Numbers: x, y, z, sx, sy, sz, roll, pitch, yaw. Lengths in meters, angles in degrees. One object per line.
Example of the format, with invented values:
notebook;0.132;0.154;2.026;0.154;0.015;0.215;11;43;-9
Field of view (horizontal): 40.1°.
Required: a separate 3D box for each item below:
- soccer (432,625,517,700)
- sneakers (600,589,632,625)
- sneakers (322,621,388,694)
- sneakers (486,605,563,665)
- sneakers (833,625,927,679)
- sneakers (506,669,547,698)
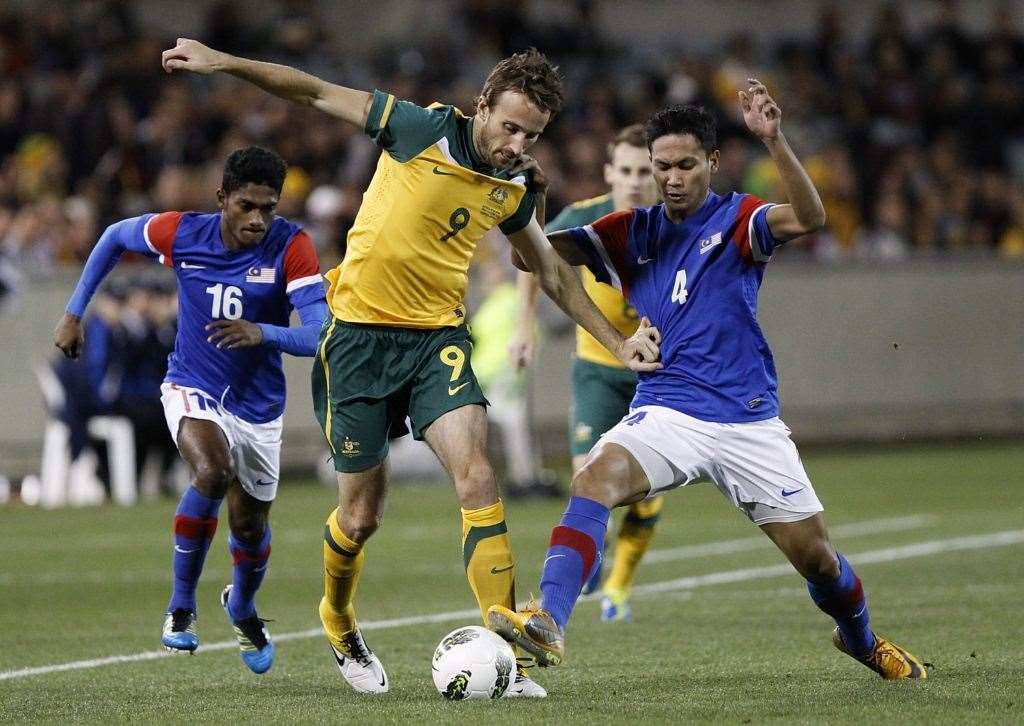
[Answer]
soccer;-0.212;1.597;7.598;0.451;0.394;0.394;-5;18;-8
sneakers;0.706;1.676;9.732;0.214;0.214;0.155;-3;-4;-2
sneakers;-0.888;1.694;8.046;0.181;0.185;0.465;-31;64;-21
sneakers;0.083;1.390;7.285;0.421;0.220;0.218;33;-32;3
sneakers;2.108;1.704;8.010;0.216;0.281;0.644;-13;12;-43
sneakers;0.104;1.747;7.668;0.097;0.124;0.291;-11;-12;39
